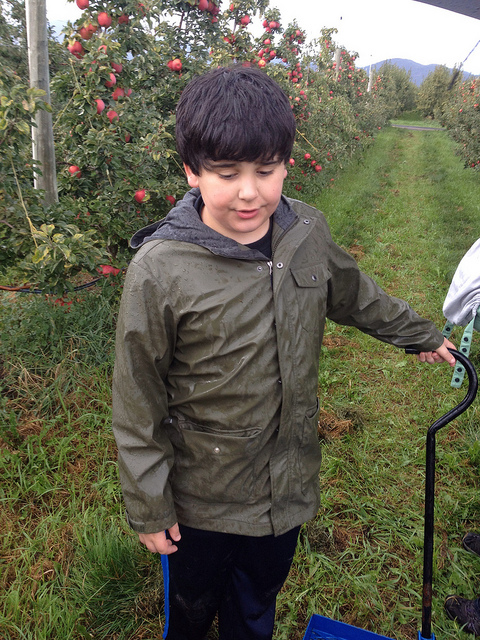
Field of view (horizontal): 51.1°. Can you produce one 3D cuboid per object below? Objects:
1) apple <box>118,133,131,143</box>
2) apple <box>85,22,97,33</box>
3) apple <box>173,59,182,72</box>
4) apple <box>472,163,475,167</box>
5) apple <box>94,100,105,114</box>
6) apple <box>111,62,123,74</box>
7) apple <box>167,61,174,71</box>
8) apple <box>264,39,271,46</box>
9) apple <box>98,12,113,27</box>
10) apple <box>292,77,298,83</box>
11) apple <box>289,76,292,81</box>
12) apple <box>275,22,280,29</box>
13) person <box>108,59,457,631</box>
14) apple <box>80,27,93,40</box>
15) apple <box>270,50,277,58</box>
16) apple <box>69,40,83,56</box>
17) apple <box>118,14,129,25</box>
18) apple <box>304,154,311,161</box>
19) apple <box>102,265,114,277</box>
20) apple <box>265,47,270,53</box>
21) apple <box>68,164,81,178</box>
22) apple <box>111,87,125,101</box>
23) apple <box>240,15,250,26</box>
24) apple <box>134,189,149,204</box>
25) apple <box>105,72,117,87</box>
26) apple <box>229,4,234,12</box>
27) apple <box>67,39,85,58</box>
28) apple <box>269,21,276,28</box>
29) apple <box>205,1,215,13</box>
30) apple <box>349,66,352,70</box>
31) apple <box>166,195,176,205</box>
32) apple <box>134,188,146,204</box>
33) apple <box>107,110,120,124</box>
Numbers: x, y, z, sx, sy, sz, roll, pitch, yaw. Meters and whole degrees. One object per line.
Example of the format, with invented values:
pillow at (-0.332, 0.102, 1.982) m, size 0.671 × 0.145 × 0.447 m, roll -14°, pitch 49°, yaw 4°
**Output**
apple at (-0.830, -1.316, 3.635) m, size 0.082 × 0.077 × 0.216 m, roll 0°, pitch 25°, yaw -11°
apple at (-0.983, -1.920, 3.316) m, size 0.071 × 0.054 × 0.038 m, roll -1°, pitch 26°, yaw -15°
apple at (-0.482, -1.957, 3.889) m, size 0.067 × 0.067 × 0.078 m, roll -5°, pitch 11°, yaw 8°
apple at (4.744, -3.131, 10.203) m, size 0.046 × 0.076 × 0.098 m, roll 14°, pitch 26°, yaw 18°
apple at (-0.903, -1.397, 3.306) m, size 0.068 × 0.077 × 0.065 m, roll 1°, pitch 46°, yaw 4°
apple at (-0.824, -1.681, 3.368) m, size 0.069 × 0.064 × 0.071 m, roll -1°, pitch 25°, yaw -13°
apple at (-0.541, -1.969, 3.918) m, size 0.054 × 0.052 × 0.065 m, roll -8°, pitch 8°, yaw 27°
apple at (0.359, -3.536, 6.415) m, size 0.082 × 0.064 × 0.066 m, roll 6°, pitch -2°, yaw -32°
apple at (-0.893, -1.993, 3.351) m, size 0.062 × 0.088 × 0.129 m, roll 9°, pitch 25°, yaw 6°
apple at (0.794, -3.420, 7.196) m, size 0.070 × 0.075 × 0.112 m, roll 5°, pitch -4°, yaw 13°
apple at (0.730, -3.437, 7.162) m, size 0.021 × 0.044 × 0.081 m, roll 11°, pitch 25°, yaw 12°
apple at (0.470, -3.669, 6.285) m, size 0.058 × 0.052 × 0.162 m, roll 6°, pitch 24°, yaw 1°
person at (0.000, 0.163, 1.490) m, size 0.640 × 1.640 × 0.759 m, roll 12°, pitch 26°, yaw 12°
apple at (-1.022, -1.884, 3.325) m, size 0.065 × 0.062 × 0.077 m, roll -13°, pitch -22°, yaw 17°
apple at (0.431, -3.439, 6.540) m, size 0.073 × 0.092 × 0.073 m, roll -9°, pitch -10°, yaw -25°
apple at (-1.098, -1.812, 3.354) m, size 0.078 × 0.077 × 0.097 m, roll 10°, pitch 25°, yaw 8°
apple at (-0.807, -2.081, 3.493) m, size 0.050 × 0.048 × 0.059 m, roll -2°, pitch 17°, yaw -1°
apple at (0.916, -2.188, 6.788) m, size 0.064 × 0.060 × 0.074 m, roll -2°, pitch -10°, yaw 7°
apple at (-0.858, -0.304, 3.288) m, size 0.068 × 0.088 × 0.101 m, roll -1°, pitch 25°, yaw -15°
apple at (0.357, -3.486, 6.514) m, size 0.058 × 0.067 × 0.102 m, roll 5°, pitch 24°, yaw -2°
apple at (-1.135, -1.021, 3.465) m, size 0.075 × 0.093 × 0.087 m, roll -2°, pitch 26°, yaw -17°
apple at (-0.835, -1.561, 3.507) m, size 0.080 × 0.076 × 0.095 m, roll -13°, pitch 14°, yaw 39°
apple at (0.063, -3.216, 5.393) m, size 0.091 × 0.094 × 0.131 m, roll 4°, pitch 25°, yaw -4°
apple at (-0.682, -0.852, 3.480) m, size 0.077 × 0.089 × 0.079 m, roll 27°, pitch 26°, yaw 28°
apple at (-0.841, -1.563, 3.308) m, size 0.088 × 0.083 × 0.101 m, roll -3°, pitch 3°, yaw -2°
apple at (-0.084, -3.347, 5.401) m, size 0.059 × 0.057 × 0.022 m, roll 21°, pitch 29°, yaw 29°
apple at (-1.087, -1.805, 3.378) m, size 0.103 × 0.095 × 0.114 m, roll -2°, pitch 10°, yaw 3°
apple at (0.408, -3.650, 6.238) m, size 0.067 × 0.075 × 0.066 m, roll 6°, pitch 40°, yaw 12°
apple at (-0.222, -2.443, 3.938) m, size 0.069 × 0.066 × 0.080 m, roll 6°, pitch 34°, yaw 8°
apple at (2.916, -6.632, 13.266) m, size 0.071 × 0.077 × 0.029 m, roll -18°, pitch 34°, yaw -41°
apple at (-0.490, -0.852, 3.561) m, size 0.059 × 0.056 × 0.069 m, roll -3°, pitch -14°, yaw 11°
apple at (-0.687, -0.857, 3.455) m, size 0.073 × 0.085 × 0.073 m, roll 22°, pitch -9°, yaw 21°
apple at (-0.856, -1.375, 3.411) m, size 0.060 × 0.074 × 0.058 m, roll -2°, pitch 23°, yaw 3°
